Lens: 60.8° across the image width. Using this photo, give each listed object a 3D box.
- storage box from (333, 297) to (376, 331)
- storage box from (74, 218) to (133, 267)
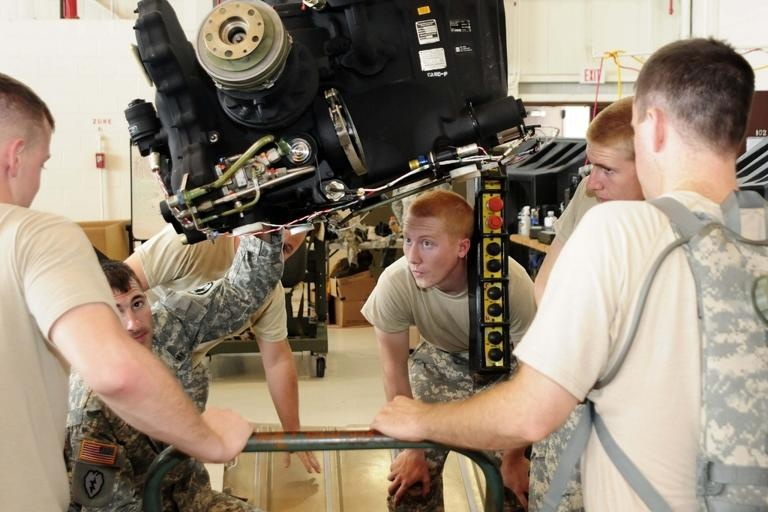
[{"bbox_3d":[-0.337,0.596,7.319,0.503,0.363,0.506,0,1,-8],"label":"storage box"},{"bbox_3d":[-1.950,-0.110,4.650,0.412,0.400,0.434,-1,0,-11],"label":"storage box"}]
